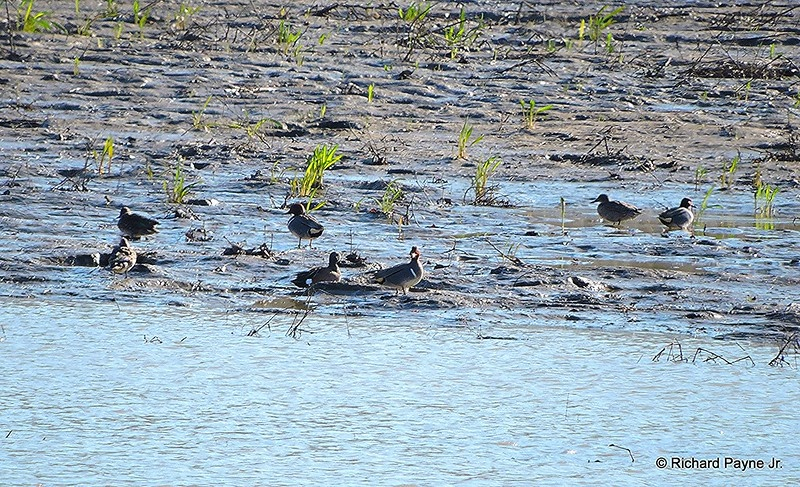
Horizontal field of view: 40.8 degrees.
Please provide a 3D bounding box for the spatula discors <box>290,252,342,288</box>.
[{"bbox_3d":[-0.773,0.266,10.235,0.553,0.312,0.268,-6,8,12],"label":"spatula discors"}]

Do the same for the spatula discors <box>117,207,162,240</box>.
[{"bbox_3d":[-2.795,-0.217,11.461,0.418,0.330,0.364,1,8,-12],"label":"spatula discors"}]

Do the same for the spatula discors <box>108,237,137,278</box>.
[{"bbox_3d":[-2.720,0.118,10.390,0.305,0.297,0.539,7,14,-2],"label":"spatula discors"}]

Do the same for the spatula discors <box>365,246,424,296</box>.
[{"bbox_3d":[-0.001,0.249,10.110,0.489,0.409,0.351,1,8,-10],"label":"spatula discors"}]

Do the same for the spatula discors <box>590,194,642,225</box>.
[{"bbox_3d":[2.590,-0.406,12.741,0.639,0.320,0.275,3,9,38],"label":"spatula discors"}]

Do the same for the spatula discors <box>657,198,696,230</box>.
[{"bbox_3d":[3.366,-0.335,12.684,0.601,0.289,0.296,-14,20,-28],"label":"spatula discors"}]
